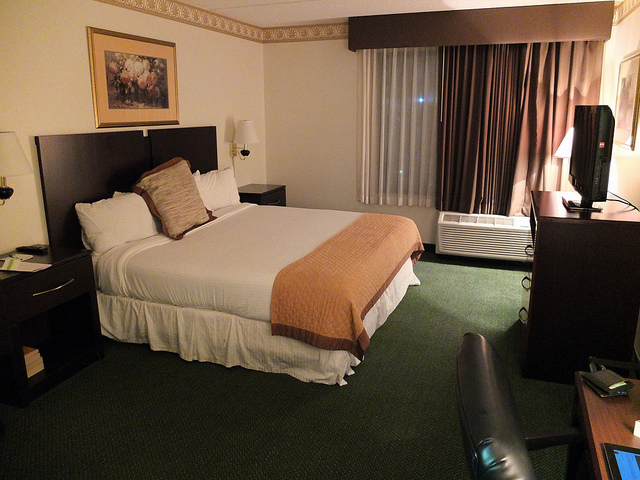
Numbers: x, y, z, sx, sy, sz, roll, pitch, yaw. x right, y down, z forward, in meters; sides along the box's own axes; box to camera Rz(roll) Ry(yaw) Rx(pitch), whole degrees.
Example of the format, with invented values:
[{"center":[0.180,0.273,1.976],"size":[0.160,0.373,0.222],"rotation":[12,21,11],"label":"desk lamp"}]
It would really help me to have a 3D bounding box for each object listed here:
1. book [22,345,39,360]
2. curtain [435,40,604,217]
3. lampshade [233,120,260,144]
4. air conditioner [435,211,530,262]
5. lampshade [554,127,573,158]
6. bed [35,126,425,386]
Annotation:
[{"center":[-2.115,0.803,3.343],"size":[0.087,0.023,0.087],"rotation":[8,8,1],"label":"book"},{"center":[2.272,-1.316,5.549],"size":[1.769,2.018,0.293],"rotation":[4,16,15],"label":"curtain"},{"center":[-0.944,-1.391,5.877],"size":[0.257,0.238,0.295],"rotation":[9,26,25],"label":"lampshade"},{"center":[1.938,-0.036,5.580],"size":[1.155,0.561,0.715],"rotation":[5,11,20],"label":"air conditioner"},{"center":[2.512,-0.998,4.694],"size":[0.133,0.323,0.435],"rotation":[4,18,15],"label":"lampshade"},{"center":[-0.783,-0.090,4.198],"size":[2.836,1.752,1.662],"rotation":[6,18,18],"label":"bed"}]
